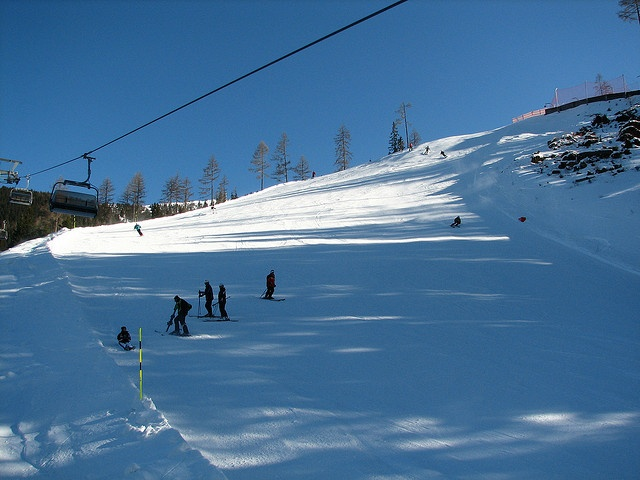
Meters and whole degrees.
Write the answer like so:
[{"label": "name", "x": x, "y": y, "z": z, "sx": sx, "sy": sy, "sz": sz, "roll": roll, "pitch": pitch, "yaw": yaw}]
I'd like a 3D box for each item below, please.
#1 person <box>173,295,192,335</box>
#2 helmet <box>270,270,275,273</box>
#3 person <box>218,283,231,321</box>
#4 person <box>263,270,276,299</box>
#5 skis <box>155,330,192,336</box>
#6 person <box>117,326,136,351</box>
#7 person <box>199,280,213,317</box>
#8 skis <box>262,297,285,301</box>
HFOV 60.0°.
[{"label": "person", "x": -4.994, "y": 2.684, "z": 19.955, "sx": 0.638, "sy": 1.382, "sz": 0.861, "roll": -6, "pitch": 5, "yaw": -13}, {"label": "helmet", "x": -2.135, "y": 1.406, "z": 24.554, "sx": 0.250, "sy": 0.152, "sz": 0.146, "roll": 2, "pitch": 3, "yaw": -32}, {"label": "person", "x": -3.835, "y": 2.362, "z": 21.623, "sx": 0.377, "sy": 1.260, "sz": 1.647, "roll": -6, "pitch": 5, "yaw": -11}, {"label": "person", "x": -2.140, "y": 1.869, "z": 22.937, "sx": 0.481, "sy": 1.140, "sz": 0.766, "roll": -6, "pitch": 5, "yaw": -8}, {"label": "skis", "x": -5.259, "y": 3.340, "z": 19.678, "sx": 1.325, "sy": 0.142, "sz": 0.132, "roll": 1, "pitch": -28, "yaw": 7}, {"label": "person", "x": -6.552, "y": 3.336, "z": 18.721, "sx": 0.636, "sy": 0.741, "sz": 0.335, "roll": -8, "pitch": -6, "yaw": -4}, {"label": "person", "x": -4.479, "y": 2.307, "z": 21.721, "sx": 0.505, "sy": 1.354, "sz": 1.283, "roll": -6, "pitch": 5, "yaw": -12}, {"label": "skis", "x": -1.961, "y": 2.476, "z": 22.787, "sx": 1.012, "sy": 0.133, "sz": 0.289, "roll": -1, "pitch": 1, "yaw": -1}]
